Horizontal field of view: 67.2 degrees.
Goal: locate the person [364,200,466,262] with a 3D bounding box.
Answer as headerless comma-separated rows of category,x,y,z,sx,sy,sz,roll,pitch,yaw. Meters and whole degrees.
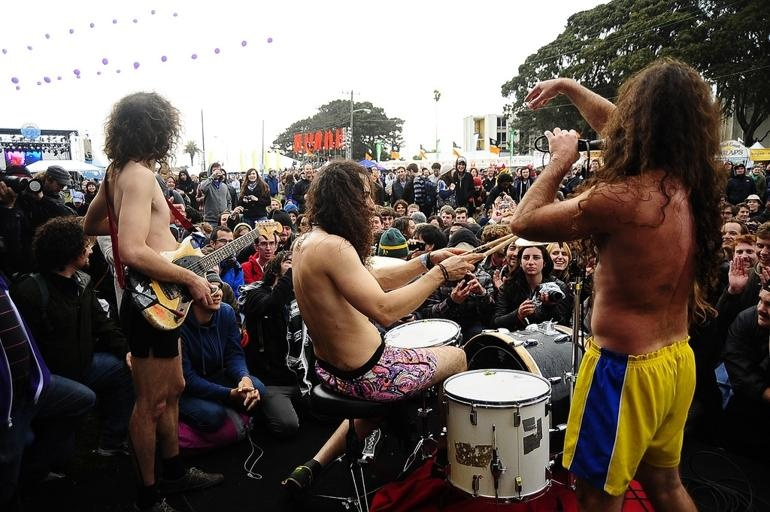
person,0.320,-0.256,6.779,0.907,0.401,0.664,-4,7,-42

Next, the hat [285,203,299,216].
hat,-1.805,-0.915,11.182,0.327,0.161,0.431,4,6,-3

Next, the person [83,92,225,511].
person,-1.599,0.336,4.024,0.637,2.876,0.780,-8,14,-28

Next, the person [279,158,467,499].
person,-0.051,0.514,4.084,1.523,2.237,0.950,-5,8,-25

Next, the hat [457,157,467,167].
hat,1.606,-1.955,12.096,0.171,0.190,0.234,5,-20,10

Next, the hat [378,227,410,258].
hat,0.084,-0.159,6.439,0.312,0.314,0.294,0,8,1

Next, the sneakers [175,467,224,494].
sneakers,-1.404,1.664,4.341,0.316,0.130,0.122,1,8,-29

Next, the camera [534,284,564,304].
camera,1.459,0.317,5.103,0.177,0.085,0.181,-18,-1,39

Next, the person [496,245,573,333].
person,1.381,0.402,5.528,0.612,1.085,0.604,0,-2,11

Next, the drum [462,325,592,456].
drum,1.304,0.780,4.735,0.833,1.162,1.074,-5,5,-33

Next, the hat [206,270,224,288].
hat,-1.449,0.193,4.895,0.101,0.136,0.115,17,13,-9

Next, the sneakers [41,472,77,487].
sneakers,-2.485,1.714,4.425,0.178,0.065,0.110,1,12,4

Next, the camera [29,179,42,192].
camera,-3.005,-0.607,4.955,0.091,0.114,0.190,-9,15,-31

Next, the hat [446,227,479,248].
hat,0.938,-0.214,6.885,0.253,0.355,0.308,-6,17,-33

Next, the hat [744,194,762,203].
hat,6.548,-1.030,10.304,0.316,0.167,0.449,0,3,37

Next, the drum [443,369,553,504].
drum,0.739,1.206,3.797,0.682,0.668,0.721,0,7,10
